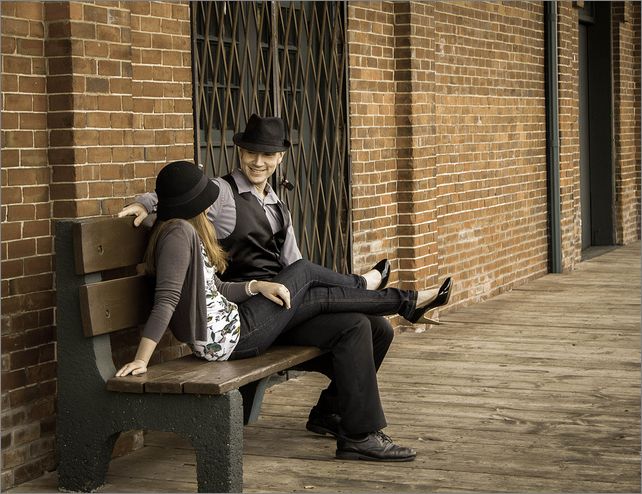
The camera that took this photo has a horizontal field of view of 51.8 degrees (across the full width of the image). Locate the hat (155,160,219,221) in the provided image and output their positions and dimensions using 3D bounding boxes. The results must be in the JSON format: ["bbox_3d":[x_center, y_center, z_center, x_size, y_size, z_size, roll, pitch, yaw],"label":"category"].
[{"bbox_3d":[-0.691,-0.280,3.328,0.291,0.159,0.277,24,61,42],"label":"hat"}]

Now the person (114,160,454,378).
[{"bbox_3d":[-0.237,0.023,3.678,1.405,0.898,0.925,-2,20,-17],"label":"person"}]

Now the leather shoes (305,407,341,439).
[{"bbox_3d":[0.012,1.090,4.134,0.236,0.131,0.117,6,-1,8],"label":"leather shoes"}]
